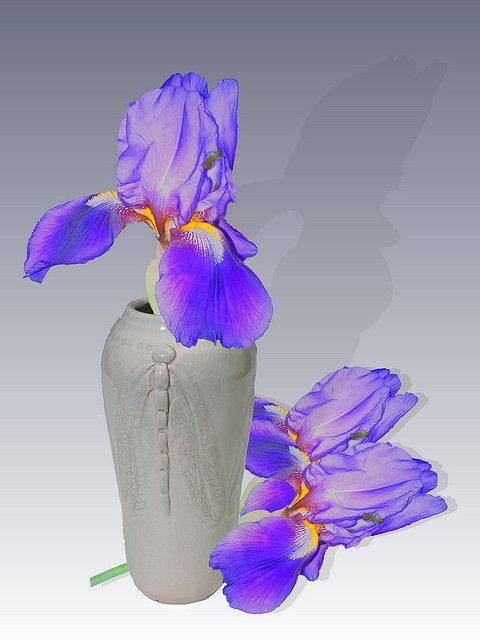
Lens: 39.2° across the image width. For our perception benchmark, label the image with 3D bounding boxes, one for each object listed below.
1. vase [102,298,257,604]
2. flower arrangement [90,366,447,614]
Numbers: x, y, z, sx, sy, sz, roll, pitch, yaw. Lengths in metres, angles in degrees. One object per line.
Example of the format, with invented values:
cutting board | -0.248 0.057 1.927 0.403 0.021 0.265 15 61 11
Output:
vase | -0.146 0.292 1.347 0.315 0.618 0.179 9 13 2
flower arrangement | 0.076 0.379 1.377 0.600 0.277 0.629 5 24 45
